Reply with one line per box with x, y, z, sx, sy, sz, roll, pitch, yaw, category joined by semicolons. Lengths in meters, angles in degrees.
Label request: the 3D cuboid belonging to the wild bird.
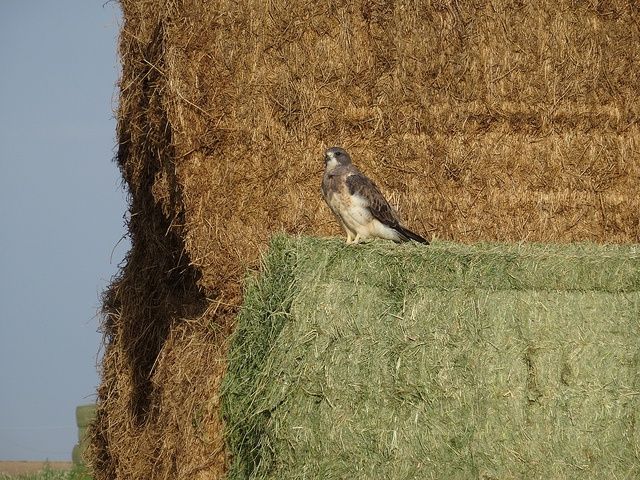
0.450;-0.323;14.190;0.860;1.157;0.609;5;-26;-6;wild bird
